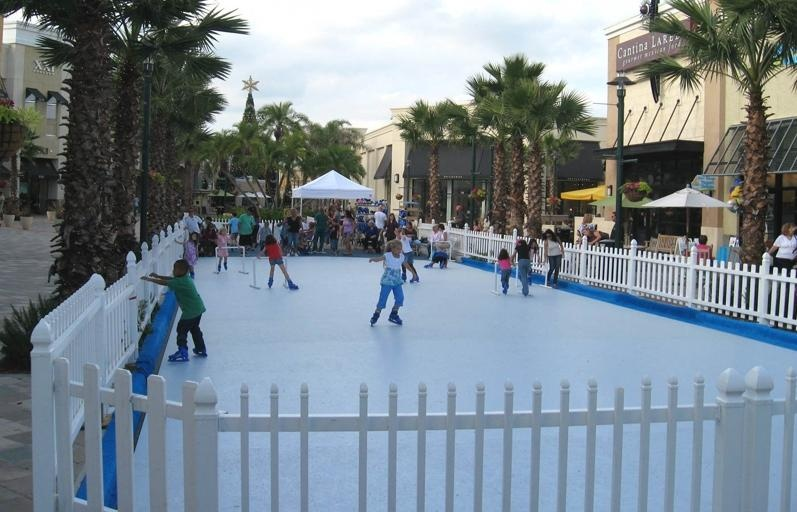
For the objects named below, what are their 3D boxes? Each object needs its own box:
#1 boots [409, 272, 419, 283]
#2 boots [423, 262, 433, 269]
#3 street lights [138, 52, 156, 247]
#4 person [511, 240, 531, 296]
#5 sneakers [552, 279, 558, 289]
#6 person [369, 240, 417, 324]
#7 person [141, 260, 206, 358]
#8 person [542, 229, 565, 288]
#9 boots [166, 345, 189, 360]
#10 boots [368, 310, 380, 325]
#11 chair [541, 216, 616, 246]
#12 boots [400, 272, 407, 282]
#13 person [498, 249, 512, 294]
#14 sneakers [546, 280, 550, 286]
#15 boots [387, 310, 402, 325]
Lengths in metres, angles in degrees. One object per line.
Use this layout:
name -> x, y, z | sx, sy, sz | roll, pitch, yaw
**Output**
boots -> 0.482, 0.706, 27.208 | 0.122, 0.237, 0.371 | -3, 5, -29
boots -> 1.066, 0.356, 32.093 | 0.273, 0.320, 0.143 | 4, 13, 3
street lights -> -6.911, -2.751, 24.607 | 0.238, 5.334, 0.271 | 8, 27, -3
person -> 3.480, 0.353, 25.476 | 0.416, 1.476, 1.596 | 2, 11, 7
sneakers -> 4.604, 0.850, 26.684 | 0.114, 0.225, 0.215 | -1, -2, 4
person -> -0.245, 0.566, 20.933 | 0.702, 1.976, 1.303 | 1, 11, 0
person -> -4.389, 0.973, 18.215 | 0.988, 1.963, 1.359 | -2, 11, -16
person -> 4.600, 0.092, 26.922 | 0.547, 1.614, 1.073 | 2, 11, 9
boots -> -4.349, 1.924, 17.895 | 0.426, 0.374, 0.212 | 2, 1, -3
boots -> -0.545, 1.399, 20.700 | 0.212, 0.319, 0.550 | 0, 12, -1
chair -> 6.708, -0.921, 33.452 | 1.393, 1.029, 1.539 | 0, -2, -2
boots -> 0.169, 0.679, 27.515 | 0.125, 0.242, 0.224 | 0, -3, 2
person -> 2.951, 0.389, 25.434 | 0.319, 1.404, 1.198 | 2, 11, 6
sneakers -> 4.447, 0.815, 26.982 | 0.082, 0.185, 0.165 | -1, 3, -16
boots -> -0.067, 1.379, 20.728 | 0.327, 0.358, 0.470 | 1, 11, 1
